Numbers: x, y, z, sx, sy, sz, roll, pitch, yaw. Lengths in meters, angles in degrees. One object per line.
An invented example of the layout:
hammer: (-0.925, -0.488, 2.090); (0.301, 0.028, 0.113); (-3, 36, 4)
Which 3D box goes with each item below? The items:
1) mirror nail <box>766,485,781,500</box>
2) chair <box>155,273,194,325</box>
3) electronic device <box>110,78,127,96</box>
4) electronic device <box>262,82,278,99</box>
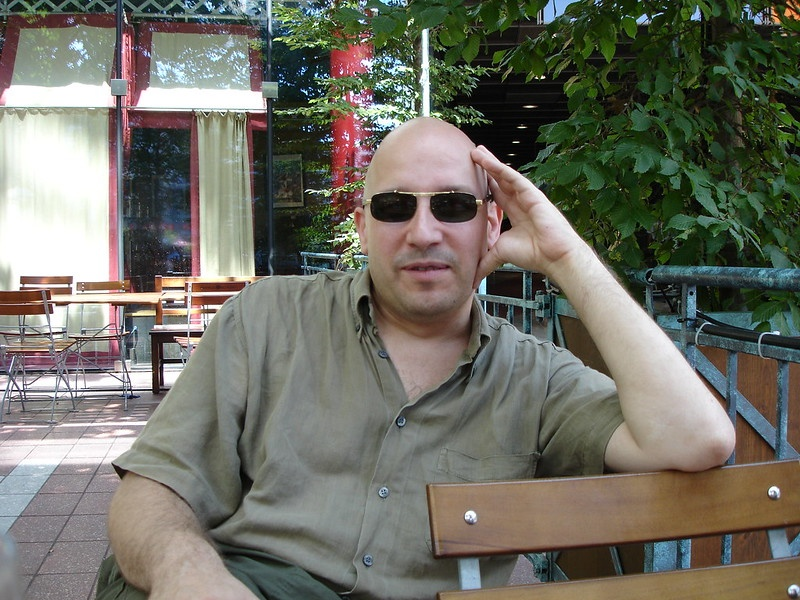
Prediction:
mirror nail: (0.974, 0.495, 1.941); (0.030, 0.032, 0.007); (-3, -5, -4)
chair: (-2.580, 0.002, 8.632); (0.555, 0.573, 0.398); (0, -1, -4)
electronic device: (-3.506, -2.653, 9.412); (0.192, 0.205, 0.199); (-3, 7, -16)
electronic device: (-1.664, -2.718, 9.794); (0.203, 0.211, 0.203); (1, 21, 0)
